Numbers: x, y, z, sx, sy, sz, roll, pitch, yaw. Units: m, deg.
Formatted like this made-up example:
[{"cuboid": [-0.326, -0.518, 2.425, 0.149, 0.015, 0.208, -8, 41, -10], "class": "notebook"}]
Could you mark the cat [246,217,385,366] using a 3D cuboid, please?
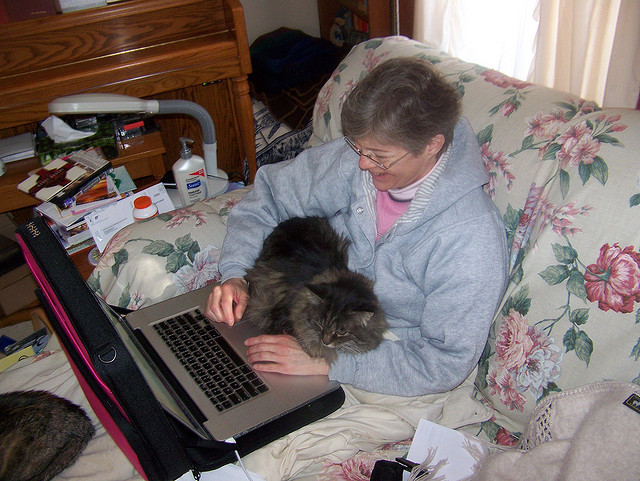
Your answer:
[{"cuboid": [-0.052, 0.146, 1.978, 0.560, 0.360, 0.748, -12, 46, -8], "class": "cat"}]

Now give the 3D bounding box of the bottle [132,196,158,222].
[{"cuboid": [-0.790, -0.141, 2.148, 0.087, 0.088, 0.083, 25, 49, 9], "class": "bottle"}]
